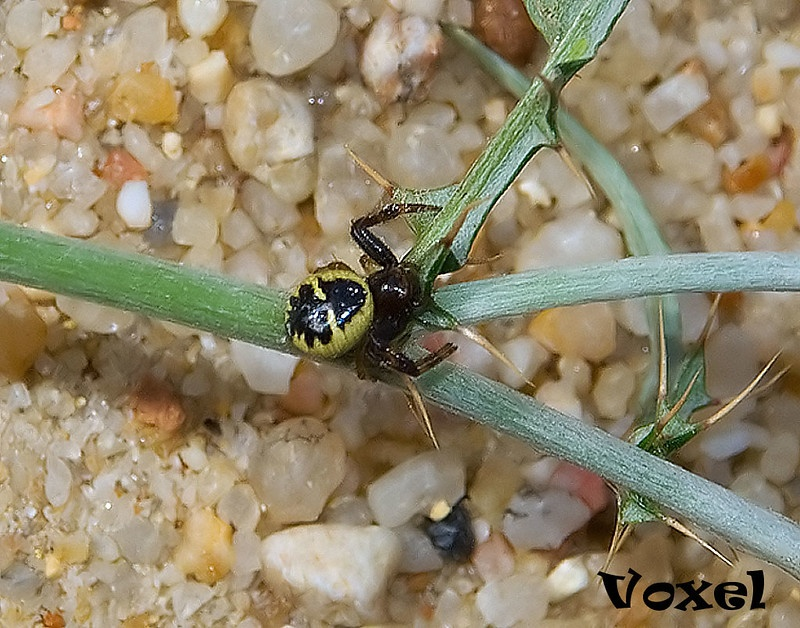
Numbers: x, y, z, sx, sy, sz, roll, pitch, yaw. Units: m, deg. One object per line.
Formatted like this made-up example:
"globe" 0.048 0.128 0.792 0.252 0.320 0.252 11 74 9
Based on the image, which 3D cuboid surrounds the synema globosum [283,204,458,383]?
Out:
"synema globosum" -0.048 0.006 1.529 0.267 0.134 0.182 1 81 0
